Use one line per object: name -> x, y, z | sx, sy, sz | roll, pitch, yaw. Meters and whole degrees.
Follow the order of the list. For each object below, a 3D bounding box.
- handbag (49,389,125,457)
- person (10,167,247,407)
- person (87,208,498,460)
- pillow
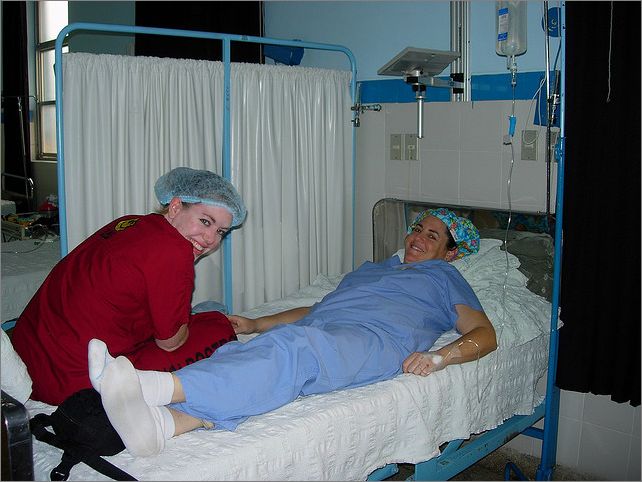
handbag -> -0.777, 0.613, 1.645 | 0.222, 0.188, 0.132 | 4, 9, 33
person -> -0.734, 0.151, 1.919 | 0.906, 0.869, 0.462 | -3, 8, -19
person -> 0.007, 0.291, 2.000 | 1.271, 0.552, 0.702 | -5, 9, -32
pillow -> 0.964, 0.276, 2.538 | 0.522, 0.138, 0.516 | -28, 42, -34
